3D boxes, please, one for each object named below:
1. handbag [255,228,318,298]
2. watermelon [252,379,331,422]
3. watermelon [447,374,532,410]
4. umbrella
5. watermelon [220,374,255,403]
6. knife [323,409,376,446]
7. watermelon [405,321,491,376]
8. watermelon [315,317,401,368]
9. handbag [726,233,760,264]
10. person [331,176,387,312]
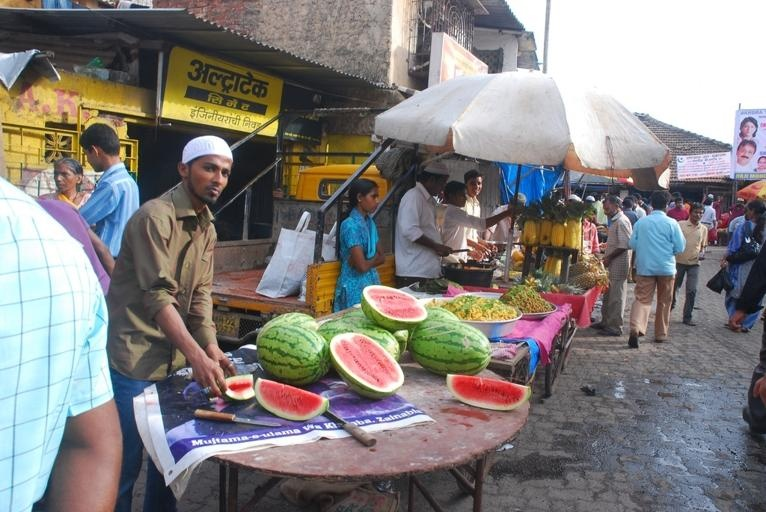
[{"bbox_3d":[-1.125,0.112,7.406,0.535,0.896,0.840,22,-3,22],"label":"handbag"},{"bbox_3d":[-0.557,0.846,3.601,0.448,0.209,0.205,15,-10,10],"label":"watermelon"},{"bbox_3d":[0.643,0.846,3.836,0.513,0.199,0.173,7,-10,10],"label":"watermelon"},{"bbox_3d":[1.454,-1.411,6.375,2.845,1.008,1.057,1,9,-2],"label":"umbrella"},{"bbox_3d":[-0.859,0.791,3.702,0.134,0.054,0.129,-1,17,-38],"label":"watermelon"},{"bbox_3d":[-0.188,0.952,3.447,0.364,0.100,0.072,10,13,43],"label":"knife"},{"bbox_3d":[0.423,0.594,4.067,0.476,0.295,0.309,9,-32,14],"label":"watermelon"},{"bbox_3d":[-0.162,0.507,4.054,0.484,0.261,0.246,17,29,14],"label":"watermelon"},{"bbox_3d":[5.551,-0.106,9.532,0.160,0.411,0.230,40,9,-7],"label":"handbag"},{"bbox_3d":[-0.243,-0.080,6.713,0.442,1.627,0.502,1,1,26],"label":"person"}]
